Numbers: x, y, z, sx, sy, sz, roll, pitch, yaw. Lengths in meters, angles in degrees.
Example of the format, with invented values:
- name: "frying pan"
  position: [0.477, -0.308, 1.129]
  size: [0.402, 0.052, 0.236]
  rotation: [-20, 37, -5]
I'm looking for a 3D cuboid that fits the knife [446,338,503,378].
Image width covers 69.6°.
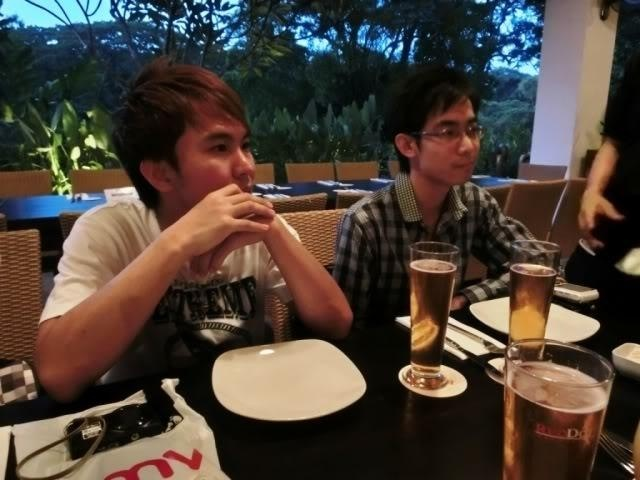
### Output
- name: "knife"
  position: [0.354, 0.262, 1.035]
  size: [0.039, 0.006, 0.116]
  rotation: [-15, 17, -19]

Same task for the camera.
- name: "camera"
  position: [-0.340, 0.321, 0.800]
  size: [0.115, 0.032, 0.081]
  rotation: [-11, 17, -27]
